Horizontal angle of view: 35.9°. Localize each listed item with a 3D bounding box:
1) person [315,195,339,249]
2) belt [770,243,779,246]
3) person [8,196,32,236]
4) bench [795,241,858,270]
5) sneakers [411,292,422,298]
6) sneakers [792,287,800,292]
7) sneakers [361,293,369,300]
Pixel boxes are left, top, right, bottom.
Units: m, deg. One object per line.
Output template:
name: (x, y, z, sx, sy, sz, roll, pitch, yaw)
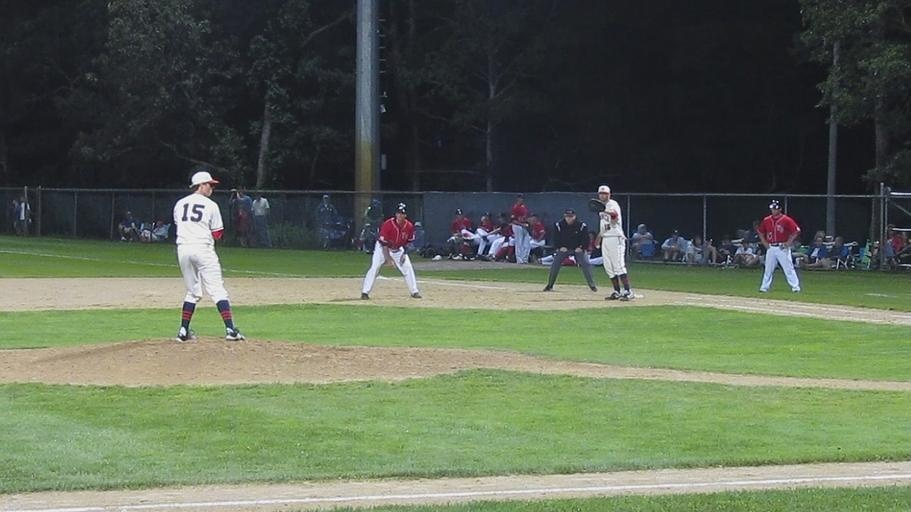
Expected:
person: (-6.928, -1.841, 76.332, 1.010, 2.897, 0.686, 0, 2, -5)
belt: (13.916, -0.492, 61.367, 0.380, 0.121, 0.037, 1, 2, 17)
person: (-25.041, -2.318, 81.284, 0.485, 2.156, 1.460, -1, 2, -45)
bench: (18.551, 0.012, 69.910, 3.007, 1.058, 1.514, 0, 3, -6)
sneakers: (-1.681, 1.702, 60.184, 0.224, 0.163, 0.383, -1, -1, -32)
sneakers: (15.034, 1.508, 62.016, 0.299, 0.244, 0.165, 0, 2, 20)
sneakers: (-3.790, 1.741, 59.881, 0.207, 0.189, 0.332, 1, -3, -42)
